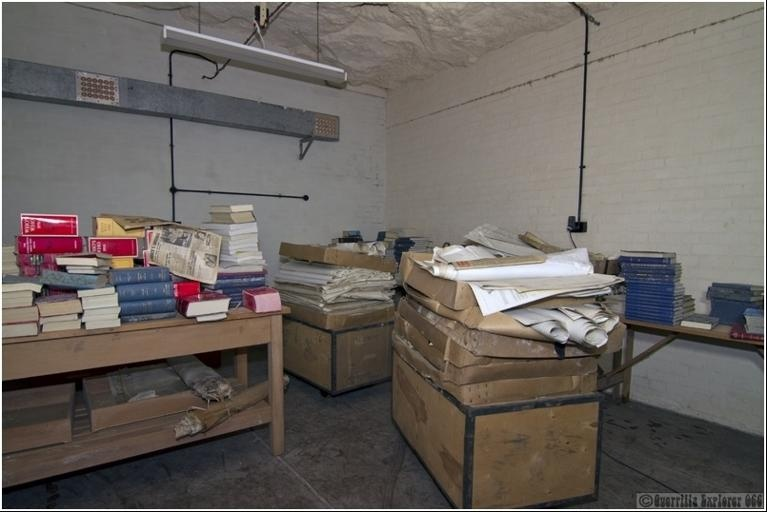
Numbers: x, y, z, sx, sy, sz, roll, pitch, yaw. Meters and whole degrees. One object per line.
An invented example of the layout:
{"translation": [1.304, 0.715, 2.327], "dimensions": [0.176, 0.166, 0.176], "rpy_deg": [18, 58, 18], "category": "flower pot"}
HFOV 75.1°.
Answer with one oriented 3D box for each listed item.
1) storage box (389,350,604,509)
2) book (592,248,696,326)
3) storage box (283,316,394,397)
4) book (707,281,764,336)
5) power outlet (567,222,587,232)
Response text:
{"translation": [0.769, 0.974, 3.310], "dimensions": [0.825, 0.553, 1.184], "rpy_deg": [-1, 2, -19], "category": "storage box"}
{"translation": [2.241, 0.254, 4.215], "dimensions": [0.654, 0.586, 0.301], "rpy_deg": [1, 7, 29], "category": "book"}
{"translation": [-0.369, 0.782, 4.597], "dimensions": [0.675, 0.404, 0.901], "rpy_deg": [0, 0, -39], "category": "storage box"}
{"translation": [2.800, 0.398, 3.993], "dimensions": [0.446, 0.301, 0.417], "rpy_deg": [7, -6, -29], "category": "book"}
{"translation": [1.899, -0.277, 4.849], "dimensions": [0.140, 0.095, 0.187], "rpy_deg": [0, 3, 6], "category": "power outlet"}
